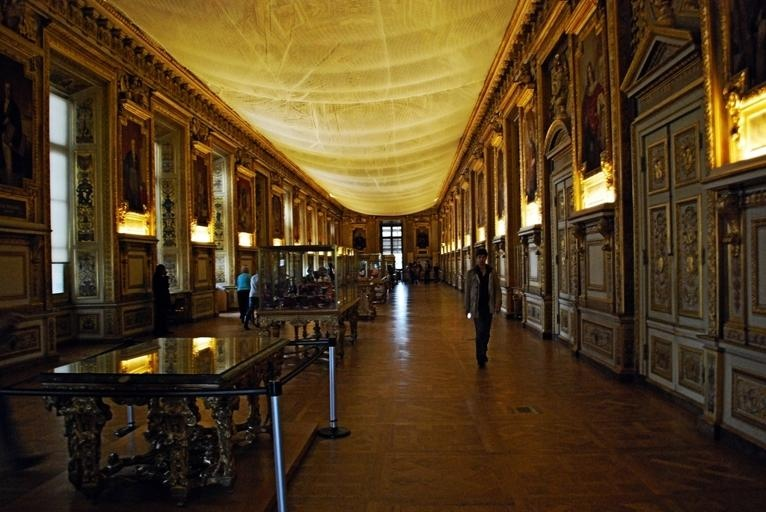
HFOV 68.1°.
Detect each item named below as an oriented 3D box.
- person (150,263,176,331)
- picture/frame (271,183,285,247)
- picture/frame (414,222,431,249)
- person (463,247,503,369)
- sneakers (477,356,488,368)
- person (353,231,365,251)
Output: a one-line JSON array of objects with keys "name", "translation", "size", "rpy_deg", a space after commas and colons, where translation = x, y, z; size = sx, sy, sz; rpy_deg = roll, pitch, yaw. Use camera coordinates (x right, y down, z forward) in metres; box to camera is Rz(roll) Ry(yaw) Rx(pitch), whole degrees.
[{"name": "person", "translation": [-5.654, 1.126, 14.531], "size": [0.461, 1.880, 1.398], "rpy_deg": [-5, 12, -21]}, {"name": "picture/frame", "translation": [-4.759, -1.862, 25.847], "size": [0.137, 2.272, 2.164], "rpy_deg": [-3, 10, -24]}, {"name": "picture/frame", "translation": [3.131, -1.536, 44.727], "size": [1.102, 1.843, 0.446], "rpy_deg": [-2, 11, -3]}, {"name": "person", "translation": [1.816, 0.896, 10.349], "size": [0.712, 2.090, 0.600], "rpy_deg": [-10, 14, -41]}, {"name": "sneakers", "translation": [1.806, 1.881, 10.249], "size": [0.166, 0.172, 0.178], "rpy_deg": [2, -1, 14]}, {"name": "person", "translation": [-1.926, -1.308, 45.977], "size": [1.358, 1.281, 0.707], "rpy_deg": [9, 14, 41]}]
